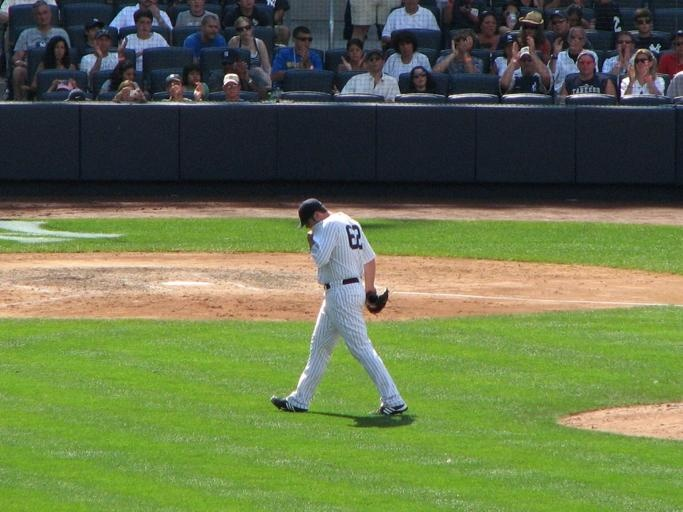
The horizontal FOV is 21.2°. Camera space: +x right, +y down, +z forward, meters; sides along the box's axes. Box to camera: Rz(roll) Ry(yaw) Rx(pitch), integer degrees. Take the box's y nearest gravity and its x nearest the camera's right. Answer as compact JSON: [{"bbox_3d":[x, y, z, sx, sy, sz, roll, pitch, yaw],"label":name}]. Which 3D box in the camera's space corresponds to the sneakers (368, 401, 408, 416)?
[{"bbox_3d":[0.572,1.925,22.948,0.461,0.235,0.153,2,3,-1],"label":"sneakers"}]

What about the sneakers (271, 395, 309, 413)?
[{"bbox_3d":[-0.683,1.885,22.961,0.506,0.223,0.174,14,7,-4],"label":"sneakers"}]

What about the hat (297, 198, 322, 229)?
[{"bbox_3d":[-0.379,-0.537,22.845,0.319,0.353,0.392,-1,7,-1],"label":"hat"}]
